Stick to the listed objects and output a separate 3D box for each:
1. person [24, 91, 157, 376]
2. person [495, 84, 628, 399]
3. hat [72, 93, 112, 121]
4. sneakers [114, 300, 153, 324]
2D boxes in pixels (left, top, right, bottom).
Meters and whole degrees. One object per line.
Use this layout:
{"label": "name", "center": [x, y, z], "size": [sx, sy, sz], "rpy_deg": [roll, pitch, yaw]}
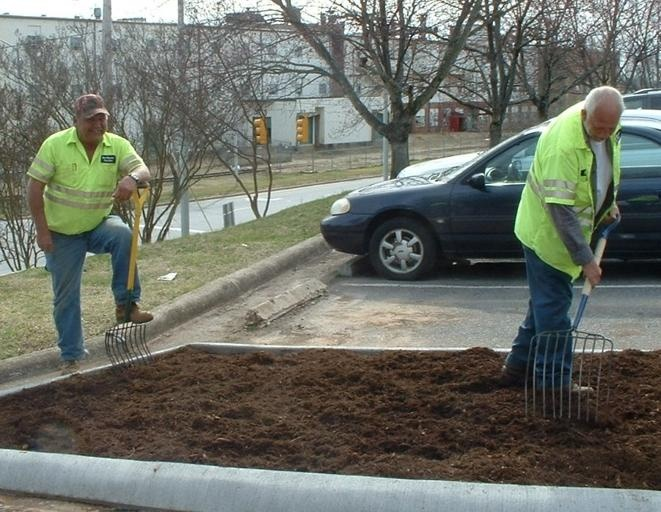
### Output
{"label": "person", "center": [-2.095, -0.221, 8.725], "size": [0.993, 2.351, 0.620], "rpy_deg": [-5, 13, -17]}
{"label": "person", "center": [1.728, -0.116, 7.494], "size": [0.784, 2.290, 0.801], "rpy_deg": [5, 13, 24]}
{"label": "hat", "center": [-2.057, -1.289, 8.564], "size": [0.296, 0.131, 0.198], "rpy_deg": [0, 7, 25]}
{"label": "sneakers", "center": [-1.778, 0.487, 8.937], "size": [0.427, 0.247, 0.131], "rpy_deg": [-6, 22, -10]}
